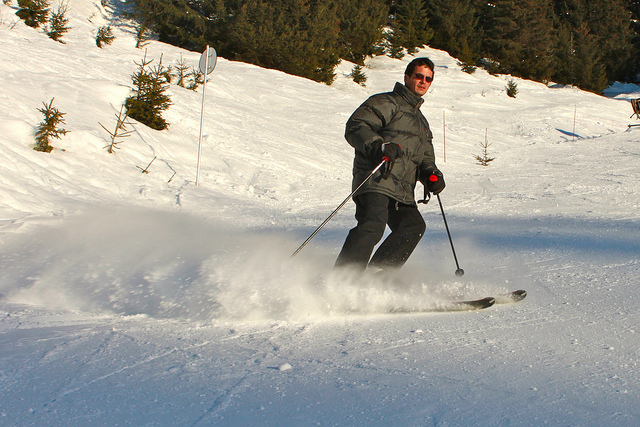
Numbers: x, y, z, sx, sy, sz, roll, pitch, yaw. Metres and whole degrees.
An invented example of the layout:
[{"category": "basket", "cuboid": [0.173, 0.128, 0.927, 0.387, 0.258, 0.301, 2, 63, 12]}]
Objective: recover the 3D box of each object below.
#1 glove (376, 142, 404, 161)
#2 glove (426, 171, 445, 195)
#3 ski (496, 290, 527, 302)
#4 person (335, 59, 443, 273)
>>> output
[{"category": "glove", "cuboid": [0.625, -0.584, 5.214, 0.240, 0.088, 0.160, 8, 32, 5]}, {"category": "glove", "cuboid": [1.153, -0.316, 5.719, 0.208, 0.230, 0.146, 12, 15, 8]}, {"category": "ski", "cuboid": [1.840, 0.774, 5.296, 0.253, 0.095, 0.154, 3, 15, -19]}, {"category": "person", "cuboid": [0.703, -0.505, 5.599, 1.119, 2.130, 0.906, 4, 17, -21]}]
